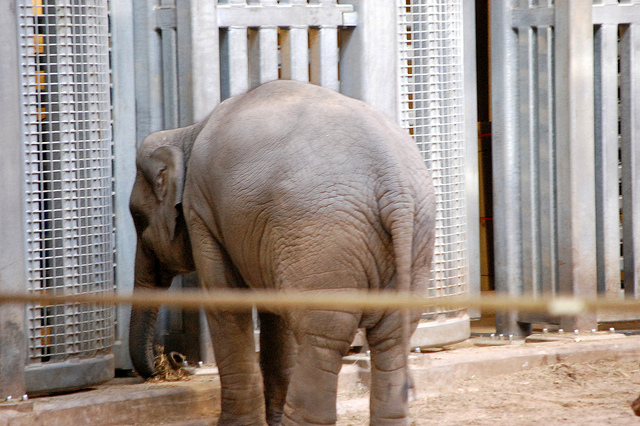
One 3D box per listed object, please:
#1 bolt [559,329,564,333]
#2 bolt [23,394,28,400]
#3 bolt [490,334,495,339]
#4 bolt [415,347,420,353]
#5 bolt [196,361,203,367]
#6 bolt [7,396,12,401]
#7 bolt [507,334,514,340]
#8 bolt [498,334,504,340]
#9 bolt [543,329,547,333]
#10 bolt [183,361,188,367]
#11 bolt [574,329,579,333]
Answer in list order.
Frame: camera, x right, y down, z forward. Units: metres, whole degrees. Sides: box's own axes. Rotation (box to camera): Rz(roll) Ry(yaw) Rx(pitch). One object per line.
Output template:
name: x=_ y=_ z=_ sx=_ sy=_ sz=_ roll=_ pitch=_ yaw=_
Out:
bolt: x=1.155 y=0.563 z=6.312 sx=0.017 sy=0.012 sz=0.016 roll=-1 pitch=1 yaw=-31
bolt: x=-1.166 y=0.728 z=5.225 sx=0.024 sy=0.016 sz=0.024 roll=2 pitch=1 yaw=-41
bolt: x=0.841 y=0.602 z=6.416 sx=0.014 sy=0.014 sz=0.029 roll=-1 pitch=4 yaw=-19
bolt: x=0.434 y=0.612 z=5.909 sx=0.028 sy=0.026 sz=0.030 roll=1 pitch=-7 yaw=0
bolt: x=-0.529 y=0.658 z=5.786 sx=0.025 sy=0.015 sz=0.017 roll=0 pitch=-5 yaw=-7
bolt: x=-1.221 y=0.726 z=5.184 sx=0.022 sy=0.016 sz=0.016 roll=-5 pitch=6 yaw=-32
bolt: x=0.915 y=0.598 z=6.342 sx=0.033 sy=0.021 sz=0.017 roll=5 pitch=8 yaw=38
bolt: x=0.871 y=0.596 z=6.356 sx=0.016 sy=0.019 sz=0.028 roll=0 pitch=4 yaw=-16
bolt: x=1.085 y=0.570 z=6.363 sx=0.010 sy=0.012 sz=0.018 roll=-1 pitch=5 yaw=-16
bolt: x=-0.593 y=0.657 z=5.787 sx=0.019 sy=0.015 sz=0.026 roll=3 pitch=2 yaw=39
bolt: x=1.219 y=0.560 z=6.272 sx=0.017 sy=0.013 sz=0.004 roll=-3 pitch=-38 yaw=16
